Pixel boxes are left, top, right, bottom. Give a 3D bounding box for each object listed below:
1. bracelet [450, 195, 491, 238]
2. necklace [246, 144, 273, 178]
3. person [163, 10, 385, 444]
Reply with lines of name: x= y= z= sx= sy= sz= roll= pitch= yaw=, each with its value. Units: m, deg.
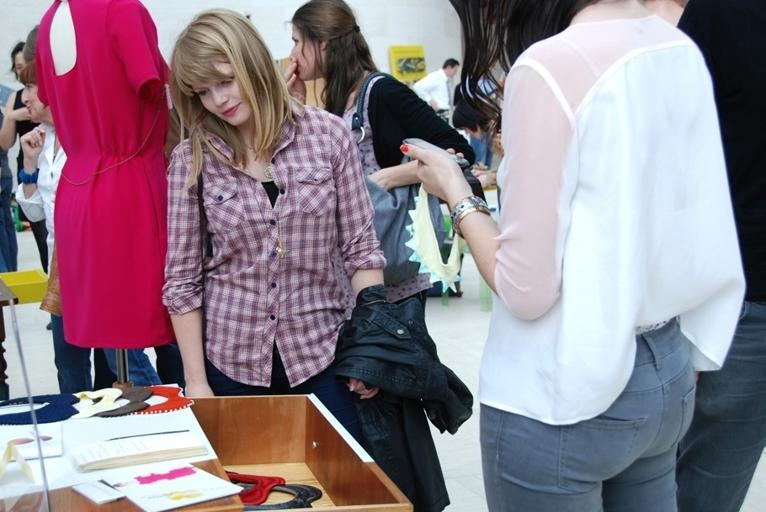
bracelet: x=0.196 y=-0.102 z=1.463 sx=0.093 sy=0.090 sz=0.081 roll=-6 pitch=-10 yaw=-43
necklace: x=-0.403 y=-0.302 z=1.995 sx=0.082 sy=0.115 sz=0.075 roll=-9 pitch=10 yaw=-11
person: x=-0.380 y=-0.078 z=2.043 sx=0.731 sy=1.443 sz=0.255 roll=-6 pitch=9 yaw=3
